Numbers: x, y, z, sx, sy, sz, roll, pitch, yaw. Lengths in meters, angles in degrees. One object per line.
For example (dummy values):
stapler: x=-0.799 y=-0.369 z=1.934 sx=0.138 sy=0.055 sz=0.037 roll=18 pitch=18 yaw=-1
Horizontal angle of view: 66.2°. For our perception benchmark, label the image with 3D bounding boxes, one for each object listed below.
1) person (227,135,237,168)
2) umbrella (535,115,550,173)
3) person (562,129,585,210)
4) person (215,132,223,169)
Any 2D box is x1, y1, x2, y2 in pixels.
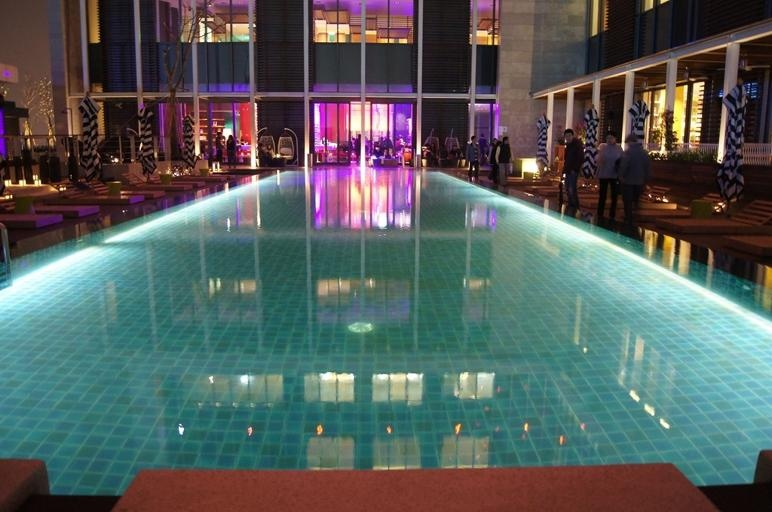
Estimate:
person: x=-7.688 y=-5.309 z=29.546 sx=0.374 sy=1.539 sz=0.895 roll=-5 pitch=15 yaw=-16
umbrella: x=6.165 y=-4.363 z=23.138 sx=0.458 sy=2.340 sz=1.228 roll=2 pitch=15 yaw=14
person: x=4.067 y=-1.905 z=12.834 sx=0.390 sy=1.661 sz=0.512 roll=3 pitch=14 yaw=15
person: x=-8.344 y=-5.384 z=29.708 sx=0.388 sy=1.691 sz=1.198 roll=-5 pitch=15 yaw=-16
